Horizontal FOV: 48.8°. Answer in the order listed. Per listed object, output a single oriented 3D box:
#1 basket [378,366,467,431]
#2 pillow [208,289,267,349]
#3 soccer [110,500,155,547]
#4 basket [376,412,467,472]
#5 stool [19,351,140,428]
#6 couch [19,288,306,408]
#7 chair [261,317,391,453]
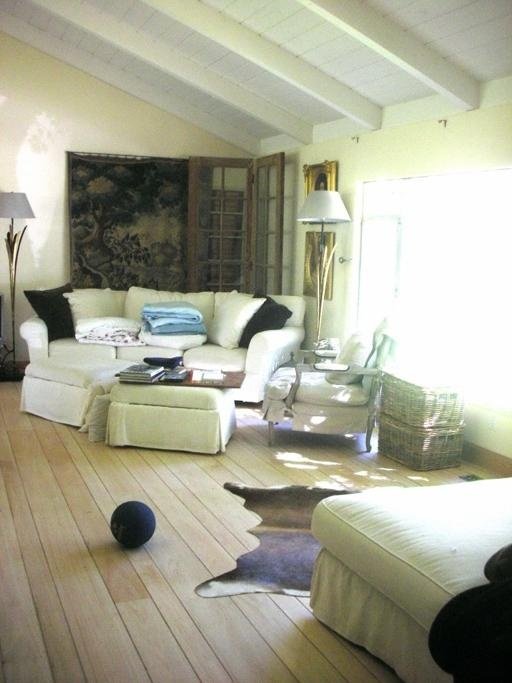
[{"bbox_3d":[1.024,0.363,3.483,0.364,0.249,0.457,2,6,-23],"label":"basket"},{"bbox_3d":[-0.210,-0.191,4.812,0.148,0.462,0.497,27,-7,-35],"label":"pillow"},{"bbox_3d":[-0.505,0.752,2.308,0.174,0.169,0.103,1,8,-14],"label":"soccer"},{"bbox_3d":[1.052,0.580,3.511,0.338,0.219,0.424,3,3,-19],"label":"basket"},{"bbox_3d":[-1.224,0.400,4.212,0.901,0.385,0.695,3,-4,41],"label":"stool"},{"bbox_3d":[-1.143,-0.036,5.019,2.120,0.733,0.754,4,24,41],"label":"couch"},{"bbox_3d":[0.435,0.252,3.932,1.010,0.879,0.725,2,13,6],"label":"chair"}]
